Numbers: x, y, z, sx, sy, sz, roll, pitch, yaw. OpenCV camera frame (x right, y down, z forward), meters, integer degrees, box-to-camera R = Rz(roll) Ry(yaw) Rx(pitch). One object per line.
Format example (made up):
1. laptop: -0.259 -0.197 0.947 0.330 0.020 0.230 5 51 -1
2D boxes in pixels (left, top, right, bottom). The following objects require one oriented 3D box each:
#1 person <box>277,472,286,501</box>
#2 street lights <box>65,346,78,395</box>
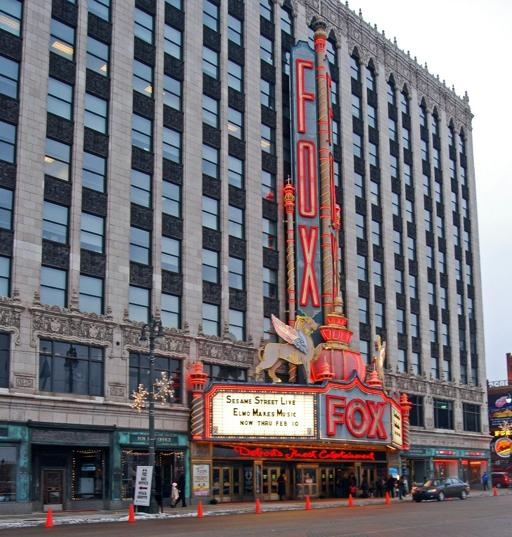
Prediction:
1. person: 1.545 13.294 61.438 0.532 1.683 1.474 -3 -16 1
2. street lights: -9.474 5.168 51.814 0.123 2.469 0.843 -14 -20 35
